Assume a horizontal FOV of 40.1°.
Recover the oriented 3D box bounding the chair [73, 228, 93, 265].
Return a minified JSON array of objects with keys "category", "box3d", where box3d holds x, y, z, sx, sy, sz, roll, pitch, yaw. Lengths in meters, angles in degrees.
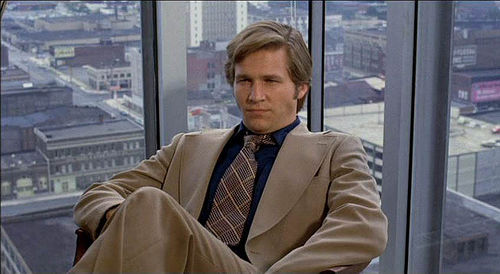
[{"category":"chair","box3d":[-1.090,0.707,4.459,0.140,0.196,0.176,-7,10,-10]}]
